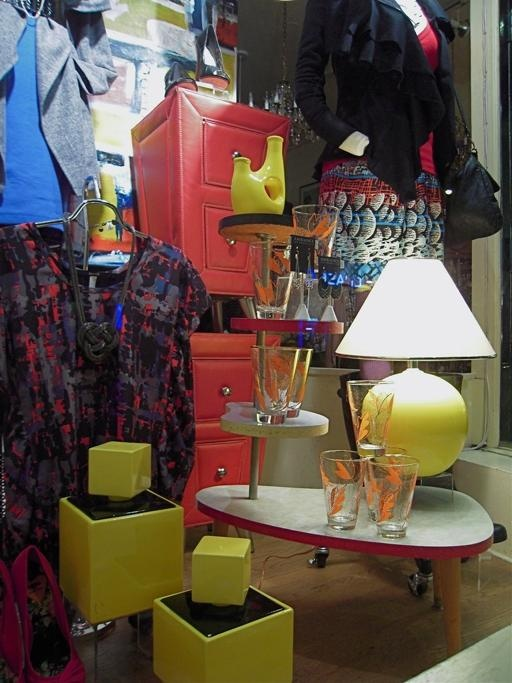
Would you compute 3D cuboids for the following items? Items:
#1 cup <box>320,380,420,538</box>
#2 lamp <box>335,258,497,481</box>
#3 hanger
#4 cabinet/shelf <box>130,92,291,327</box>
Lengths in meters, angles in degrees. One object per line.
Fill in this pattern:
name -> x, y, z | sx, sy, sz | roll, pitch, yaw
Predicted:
cup -> 0.204, 0.241, 1.022 | 0.172, 0.202, 0.154 | 1, -2, -22
lamp -> 0.368, 0.054, 1.257 | 0.320, 0.426, 0.309 | -5, 0, -38
hanger -> -0.505, -0.370, 1.960 | 0.223, 0.298, 0.296 | 13, 15, 20
cabinet/shelf -> -0.178, -0.412, 1.958 | 0.527, 0.677, 0.546 | 4, 6, 23
